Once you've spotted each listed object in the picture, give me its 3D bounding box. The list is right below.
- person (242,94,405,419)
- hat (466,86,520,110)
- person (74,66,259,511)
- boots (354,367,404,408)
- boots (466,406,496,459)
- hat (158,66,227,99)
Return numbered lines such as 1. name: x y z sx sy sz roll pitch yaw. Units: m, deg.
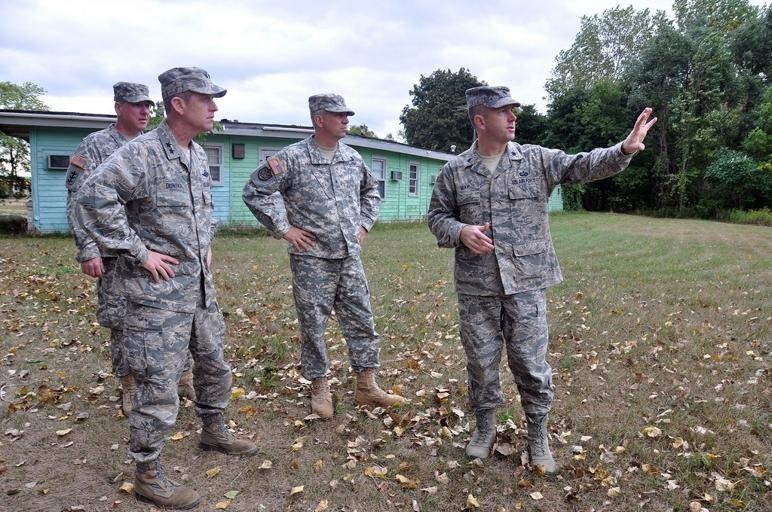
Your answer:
1. person: -0.671 0.012 5.941 1.364 3.373 0.759 -2 12 -14
2. hat: 1.020 -1.493 5.219 0.372 0.220 0.525 -4 12 -21
3. person: -1.943 0.265 4.993 0.798 3.848 1.107 11 15 40
4. boots: -0.126 1.475 6.209 0.710 0.460 0.275 -1 3 -6
5. boots: 0.956 1.784 5.498 0.224 0.389 0.579 1 -3 20
6. hat: -1.817 -1.579 5.133 0.595 0.250 0.370 -6 9 -8
